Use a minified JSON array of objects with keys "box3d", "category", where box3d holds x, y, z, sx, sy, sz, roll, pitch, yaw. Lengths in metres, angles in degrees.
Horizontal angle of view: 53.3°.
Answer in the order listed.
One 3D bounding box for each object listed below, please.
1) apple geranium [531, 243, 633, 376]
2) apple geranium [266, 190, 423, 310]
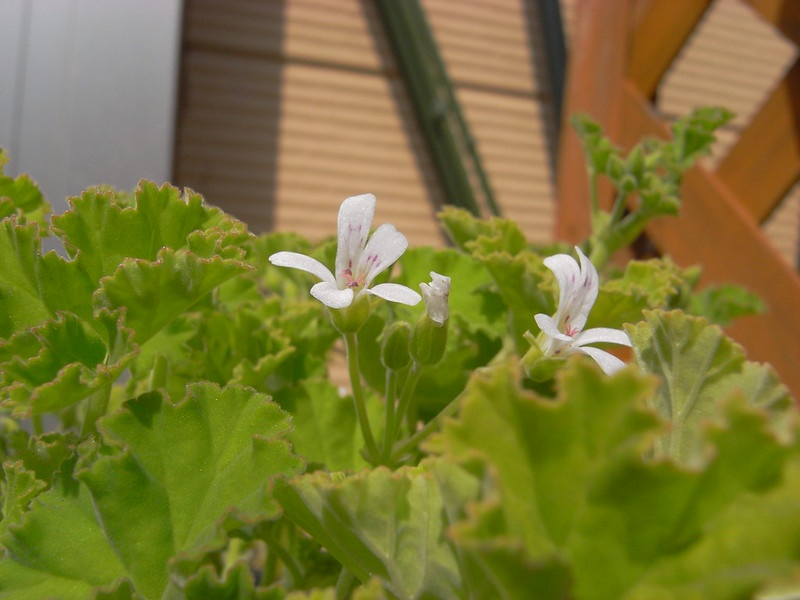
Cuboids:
[{"box3d":[0.239,0.013,1.097,0.124,0.165,0.195,2,-1,0],"category":"apple geranium"},{"box3d":[-0.068,-0.067,1.039,0.188,0.157,0.188,3,-2,-36],"category":"apple geranium"}]
